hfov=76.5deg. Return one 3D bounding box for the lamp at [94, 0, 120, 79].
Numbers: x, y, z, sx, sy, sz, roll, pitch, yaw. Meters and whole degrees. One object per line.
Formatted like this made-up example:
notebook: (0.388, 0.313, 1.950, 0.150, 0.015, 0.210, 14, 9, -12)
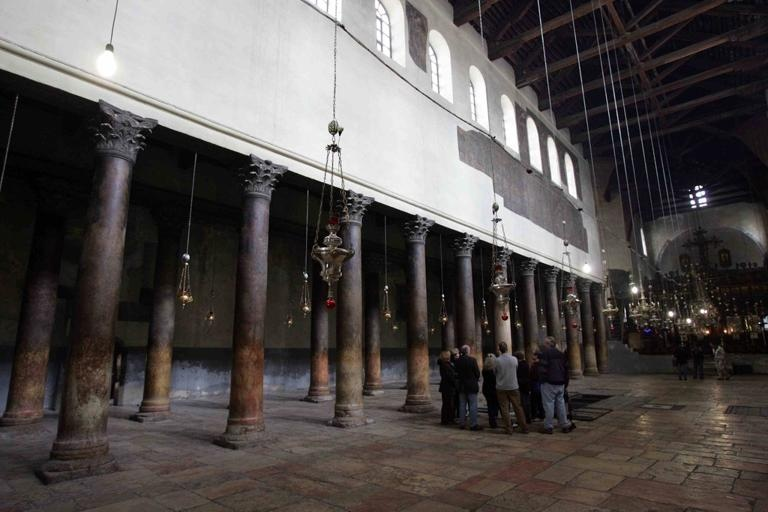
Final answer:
lamp: (-5.956, -4.871, 10.518, 0.393, 1.930, 0.597, 3, -7, -34)
